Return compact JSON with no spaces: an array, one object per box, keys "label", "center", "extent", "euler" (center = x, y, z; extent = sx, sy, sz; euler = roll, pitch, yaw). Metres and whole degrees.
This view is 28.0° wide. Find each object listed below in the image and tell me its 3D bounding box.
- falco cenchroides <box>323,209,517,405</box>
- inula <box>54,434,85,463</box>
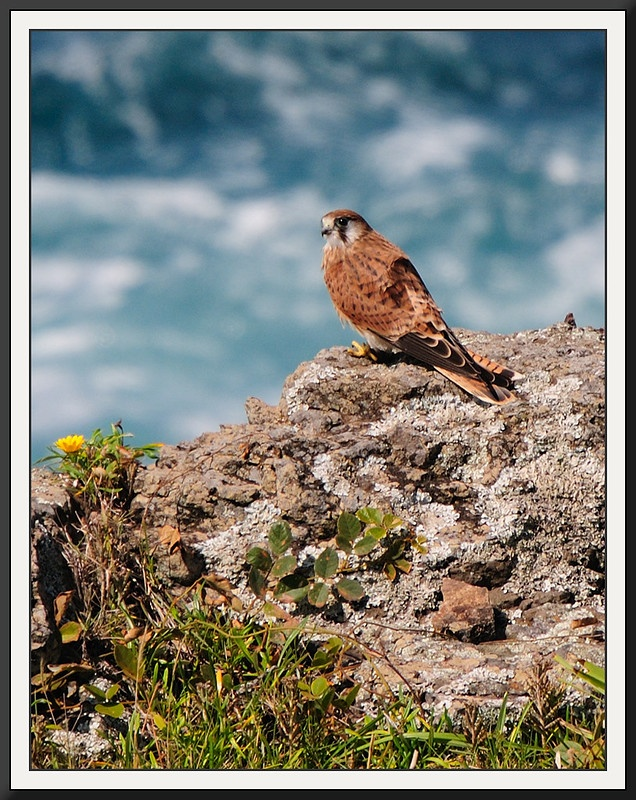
[{"label":"falco cenchroides","center":[0.466,-0.444,5.713],"extent":[0.387,0.661,1.152],"euler":[-19,28,-39]},{"label":"inula","center":[-1.008,0.191,5.171],"extent":[0.091,0.083,0.185],"euler":[-5,-8,6]}]
